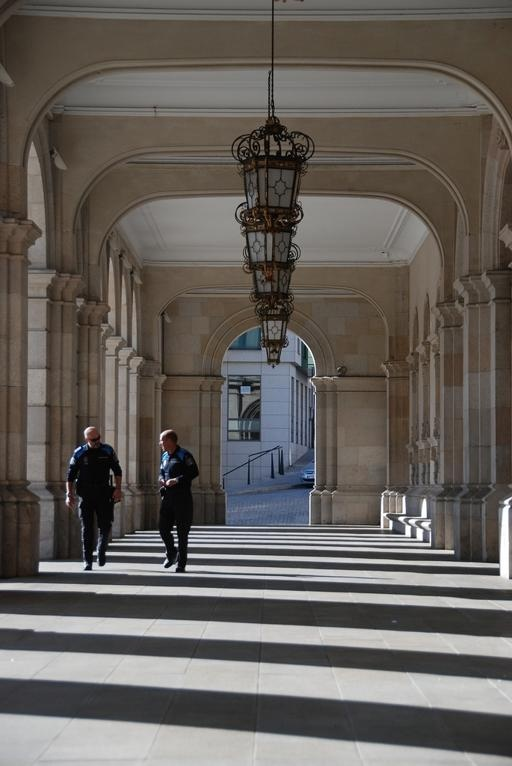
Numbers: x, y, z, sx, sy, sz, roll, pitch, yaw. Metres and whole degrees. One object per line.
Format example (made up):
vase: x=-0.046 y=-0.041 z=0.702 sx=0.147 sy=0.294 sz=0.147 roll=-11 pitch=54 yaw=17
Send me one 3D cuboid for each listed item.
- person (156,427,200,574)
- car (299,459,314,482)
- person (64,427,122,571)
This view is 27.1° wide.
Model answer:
person: x=-0.792 y=1.212 z=10.884 sx=0.372 sy=1.422 sz=0.987 roll=1 pitch=-5 yaw=-4
car: x=2.257 y=3.905 z=46.524 sx=0.968 sy=0.941 sz=2.568 roll=-1 pitch=-1 yaw=1
person: x=-1.672 y=1.204 z=10.941 sx=0.533 sy=1.443 sz=0.752 roll=1 pitch=-5 yaw=-11
